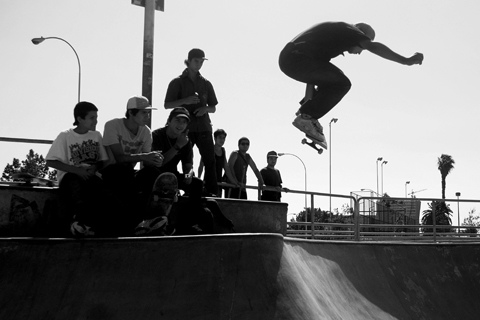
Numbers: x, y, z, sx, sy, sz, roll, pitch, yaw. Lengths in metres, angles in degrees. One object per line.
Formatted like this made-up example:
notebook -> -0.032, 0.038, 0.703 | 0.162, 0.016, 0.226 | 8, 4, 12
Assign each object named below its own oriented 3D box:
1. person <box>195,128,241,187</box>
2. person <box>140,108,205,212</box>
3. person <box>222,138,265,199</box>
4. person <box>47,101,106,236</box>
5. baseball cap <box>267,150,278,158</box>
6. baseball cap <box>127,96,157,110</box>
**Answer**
person -> -0.440, 0.004, 8.825 | 0.858, 1.399, 0.412 | 4, -16, -37
person -> -1.050, 0.140, 7.549 | 0.942, 1.852, 0.922 | 9, -12, -38
person -> 0.050, 0.532, 10.317 | 0.819, 2.020, 0.591 | 0, -13, 9
person -> -2.144, 0.078, 6.657 | 0.758, 1.370, 0.856 | 5, -3, -22
baseball cap -> 0.596, -0.095, 9.514 | 0.160, 0.132, 0.243 | 6, -22, -2
baseball cap -> -1.432, -0.796, 7.207 | 0.327, 0.140, 0.288 | 8, -4, -36
